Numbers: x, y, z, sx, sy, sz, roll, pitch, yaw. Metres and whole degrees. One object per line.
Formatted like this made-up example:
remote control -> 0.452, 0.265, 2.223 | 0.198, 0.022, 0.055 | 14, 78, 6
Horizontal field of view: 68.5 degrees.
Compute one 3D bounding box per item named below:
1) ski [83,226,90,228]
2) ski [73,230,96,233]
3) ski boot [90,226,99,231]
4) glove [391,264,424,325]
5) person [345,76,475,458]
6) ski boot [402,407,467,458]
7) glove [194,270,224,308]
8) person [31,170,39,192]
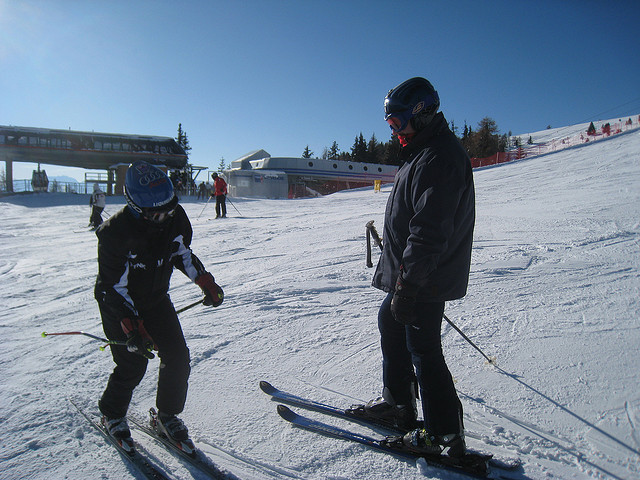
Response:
ski -> -6.908, -0.382, 13.920 | 0.139, 0.023, 0.376 | -10, 9, -29
ski -> -6.475, -0.233, 13.002 | 0.545, 0.037, 0.263 | -13, 11, -43
ski boot -> -5.324, -0.278, 11.141 | 0.194, 0.090, 0.152 | -20, 0, 23
glove -> 0.711, 0.448, 3.816 | 0.261, 0.498, 0.123 | -4, 6, -1
person -> 0.835, 0.248, 4.018 | 0.842, 3.186, 0.672 | 1, 8, 33
ski boot -> 0.956, 1.584, 4.033 | 0.573, 0.482, 0.216 | -3, 7, 23
glove -> -0.997, 0.457, 4.359 | 0.124, 0.328, 0.241 | -31, -15, 1
person -> -16.903, -3.493, 28.012 | 0.369, 1.193, 0.683 | -8, 8, -32
